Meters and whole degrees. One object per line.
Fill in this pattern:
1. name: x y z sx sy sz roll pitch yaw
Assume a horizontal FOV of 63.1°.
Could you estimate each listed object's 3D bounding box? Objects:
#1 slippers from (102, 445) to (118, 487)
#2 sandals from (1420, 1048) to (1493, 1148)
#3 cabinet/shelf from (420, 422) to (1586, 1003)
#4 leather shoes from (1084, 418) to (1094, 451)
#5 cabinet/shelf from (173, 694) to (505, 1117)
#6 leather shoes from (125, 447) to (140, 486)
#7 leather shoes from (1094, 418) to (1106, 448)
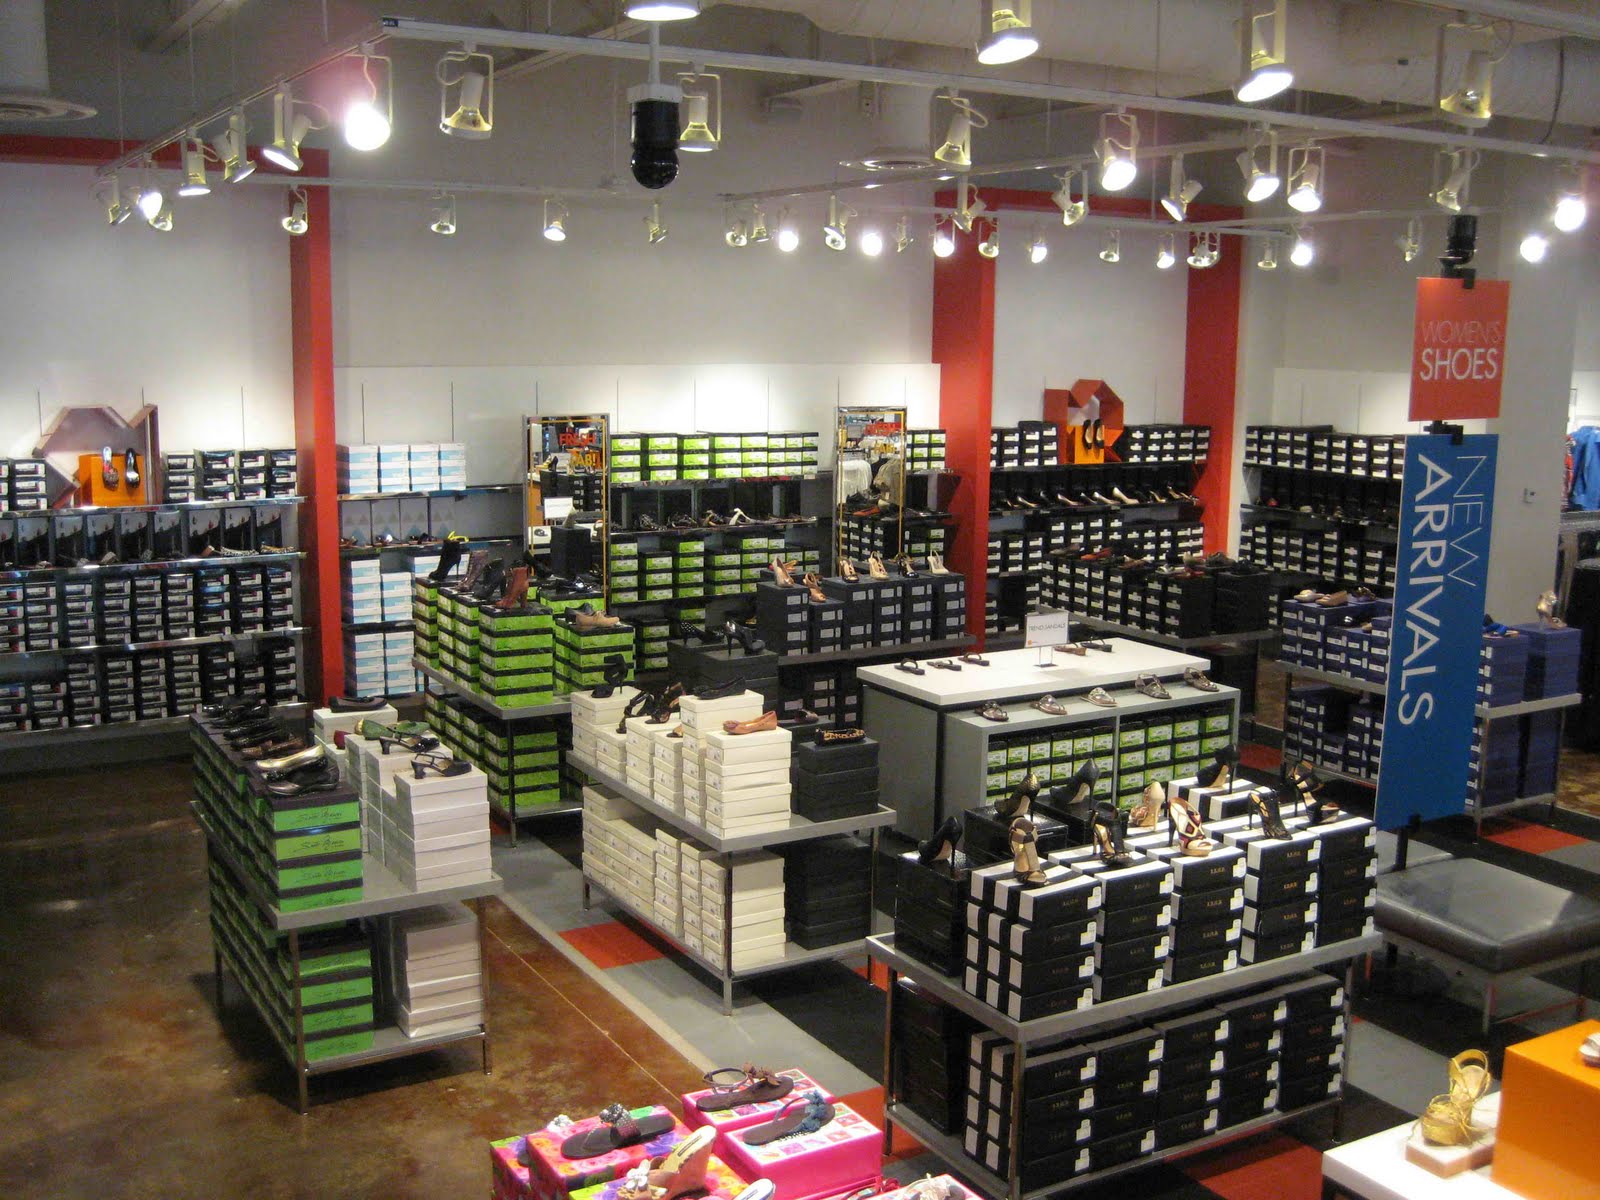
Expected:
1. slippers: -5.634 -1.070 10.667 0.120 0.279 0.063 -7 15 -27
2. sandals: 2.320 1.791 4.575 0.151 0.140 0.464 2 22 43
3. cabinet/shelf: 0.422 0.144 10.828 7.265 2.344 4.748 -4 7 -38
4. leather shoes: 3.246 -1.853 14.635 0.110 0.308 0.090 -2 9 -9
5. cabinet/shelf: -2.486 1.461 7.068 1.178 1.396 1.920 -4 11 -32
6. leather shoes: -5.480 -1.070 10.730 0.136 0.246 0.090 -1 4 -43
7. leather shoes: 3.394 -1.883 14.686 0.101 0.268 0.108 -3 12 -13
